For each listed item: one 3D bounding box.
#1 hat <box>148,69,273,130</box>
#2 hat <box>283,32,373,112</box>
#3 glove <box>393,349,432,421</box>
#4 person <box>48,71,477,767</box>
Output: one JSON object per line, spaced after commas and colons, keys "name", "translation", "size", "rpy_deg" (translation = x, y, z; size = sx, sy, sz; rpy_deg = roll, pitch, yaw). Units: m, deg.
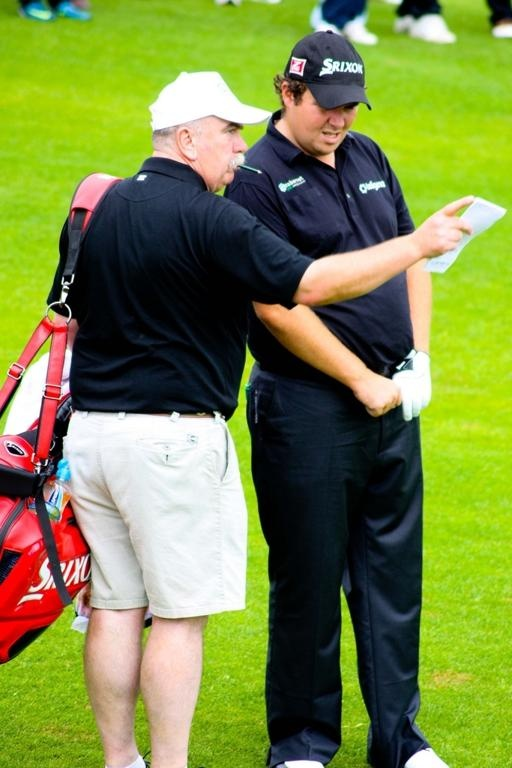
{"name": "hat", "translation": [-0.102, -0.578, 2.130], "size": [0.208, 0.095, 0.128], "rpy_deg": [-6, 16, 7]}
{"name": "hat", "translation": [0.170, -0.731, 2.458], "size": [0.176, 0.128, 0.240], "rpy_deg": [-6, 31, -33]}
{"name": "glove", "translation": [0.368, -0.001, 2.491], "size": [0.103, 0.047, 0.164], "rpy_deg": [16, 51, -21]}
{"name": "person", "translation": [-0.139, 0.162, 2.255], "size": [0.626, 1.588, 0.603], "rpy_deg": [-16, 32, -35]}
